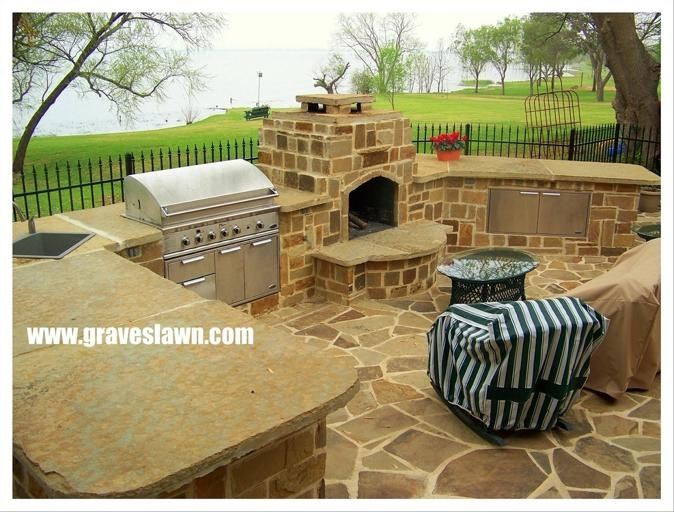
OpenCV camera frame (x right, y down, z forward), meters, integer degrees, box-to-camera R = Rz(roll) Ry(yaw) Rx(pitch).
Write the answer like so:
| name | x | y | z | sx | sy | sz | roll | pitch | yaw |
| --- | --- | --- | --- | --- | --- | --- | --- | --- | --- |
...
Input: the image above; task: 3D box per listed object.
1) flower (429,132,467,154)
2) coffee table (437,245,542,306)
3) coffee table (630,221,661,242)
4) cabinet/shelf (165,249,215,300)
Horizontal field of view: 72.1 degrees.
| name | x | y | z | sx | sy | sz | roll | pitch | yaw |
| --- | --- | --- | --- | --- | --- | --- | --- | --- | --- |
| flower | 2.134 | -2.197 | 9.039 | 0.528 | 0.267 | 0.515 | -5 | 20 | -6 |
| coffee table | 2.017 | 0.430 | 6.215 | 1.374 | 0.710 | 0.984 | -15 | 23 | -31 |
| coffee table | 5.064 | -0.404 | 7.583 | 0.449 | 0.108 | 0.453 | 4 | 33 | 41 |
| cabinet/shelf | -1.816 | 0.208 | 5.688 | 0.478 | 0.541 | 0.413 | -11 | 25 | -42 |
